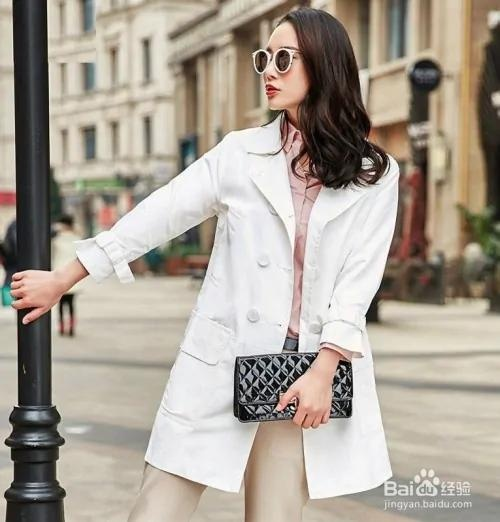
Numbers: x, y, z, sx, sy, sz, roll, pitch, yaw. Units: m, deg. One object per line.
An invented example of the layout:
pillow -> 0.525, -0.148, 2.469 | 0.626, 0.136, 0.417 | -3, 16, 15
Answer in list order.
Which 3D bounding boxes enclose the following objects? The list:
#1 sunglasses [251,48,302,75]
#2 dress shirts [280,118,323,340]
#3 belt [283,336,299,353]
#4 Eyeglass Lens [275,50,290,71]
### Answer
sunglasses -> 0.069, -0.517, 2.916 | 0.091, 0.038, 0.089 | 0, -6, 43
dress shirts -> 0.139, -0.095, 2.890 | 0.114, 0.502, 0.085 | 4, -6, 4
belt -> 0.105, 0.216, 2.870 | 0.033, 0.020, 0.042 | 8, -1, -9
Eyeglass Lens -> 0.086, -0.521, 2.873 | 0.050, 0.021, 0.047 | 14, -17, -40
